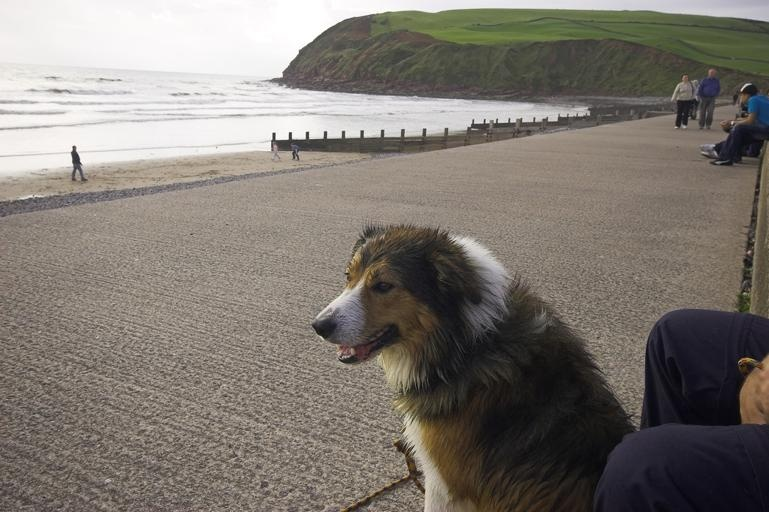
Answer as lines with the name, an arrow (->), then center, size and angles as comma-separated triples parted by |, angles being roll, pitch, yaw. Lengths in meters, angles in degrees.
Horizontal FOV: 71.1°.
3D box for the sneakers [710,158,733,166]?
sneakers -> 6.993, -1.948, 11.103 | 0.468, 0.168, 0.146 | 9, 22, 23
